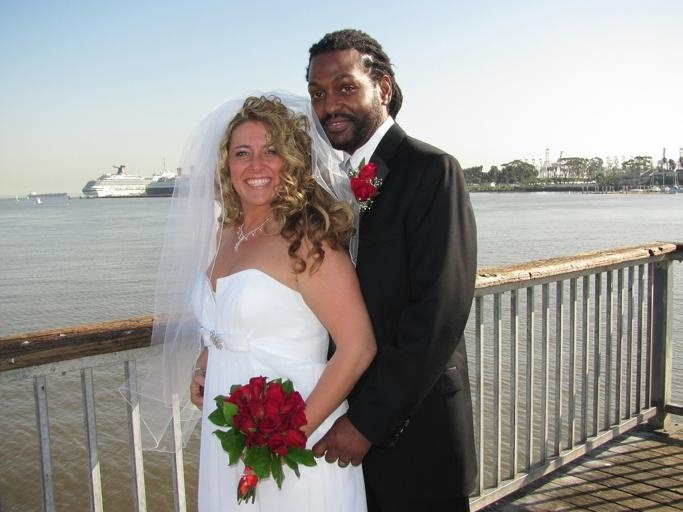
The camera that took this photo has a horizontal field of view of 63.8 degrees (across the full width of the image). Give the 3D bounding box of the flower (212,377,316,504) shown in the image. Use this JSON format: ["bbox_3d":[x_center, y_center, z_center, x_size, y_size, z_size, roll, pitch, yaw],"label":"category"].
[{"bbox_3d":[-0.319,0.803,2.386,0.387,0.415,0.396,-11,50,-42],"label":"flower"}]

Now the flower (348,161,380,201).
[{"bbox_3d":[0.109,-0.397,2.659,0.159,0.197,0.068,27,-34,-31],"label":"flower"}]

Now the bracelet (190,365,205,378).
[{"bbox_3d":[-0.772,0.617,2.931,0.052,0.025,0.067,-1,26,-3],"label":"bracelet"}]

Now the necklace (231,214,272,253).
[{"bbox_3d":[-0.436,-0.113,2.722,0.017,0.193,0.150,35,-1,-36],"label":"necklace"}]

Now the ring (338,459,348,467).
[{"bbox_3d":[0.003,0.932,2.466,0.037,0.042,0.046,4,-17,-5],"label":"ring"}]
